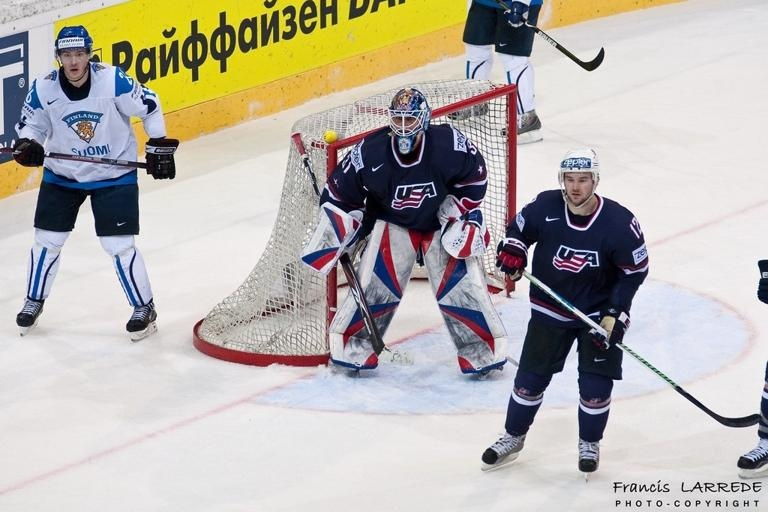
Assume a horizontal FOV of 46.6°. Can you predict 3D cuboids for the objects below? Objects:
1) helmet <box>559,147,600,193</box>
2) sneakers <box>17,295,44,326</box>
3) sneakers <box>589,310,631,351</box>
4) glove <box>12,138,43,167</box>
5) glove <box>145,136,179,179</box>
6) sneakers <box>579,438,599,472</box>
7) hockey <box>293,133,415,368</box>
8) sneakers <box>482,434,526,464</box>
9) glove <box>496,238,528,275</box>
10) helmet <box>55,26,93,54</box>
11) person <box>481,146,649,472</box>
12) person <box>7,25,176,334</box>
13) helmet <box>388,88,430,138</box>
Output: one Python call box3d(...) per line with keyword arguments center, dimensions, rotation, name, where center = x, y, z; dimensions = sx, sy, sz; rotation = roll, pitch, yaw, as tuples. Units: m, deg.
box3d(center=(0.884, -0.408, 4.024), dimensions=(0.163, 0.178, 0.200), rotation=(-1, 5, 16), name="helmet")
box3d(center=(-2.129, 0.337, 5.424), dimensions=(0.086, 0.102, 0.250), rotation=(25, 16, -17), name="sneakers")
box3d(center=(0.986, 0.315, 3.893), dimensions=(0.144, 0.191, 0.073), rotation=(34, -9, 32), name="sneakers")
box3d(center=(-2.060, -0.601, 5.173), dimensions=(0.168, 0.172, 0.130), rotation=(-15, 22, -22), name="glove")
box3d(center=(-1.345, -0.603, 5.395), dimensions=(0.185, 0.227, 0.140), rotation=(-11, 34, -35), name="glove")
box3d(center=(0.926, 0.880, 4.006), dimensions=(0.089, 0.081, 0.245), rotation=(-1, 16, 14), name="sneakers")
box3d(center=(-0.170, -0.034, 4.812), dimensions=(0.147, 1.366, 0.206), rotation=(-29, -7, 38), name="hockey")
box3d(center=(0.557, 0.893, 4.092), dimensions=(0.200, 0.091, 0.060), rotation=(-17, 53, -41), name="sneakers")
box3d(center=(0.607, -0.014, 4.201), dimensions=(0.167, 0.158, 0.070), rotation=(25, 22, 4), name="glove")
box3d(center=(-1.768, -1.233, 5.107), dimensions=(0.152, 0.162, 0.197), rotation=(-6, -8, -10), name="helmet")
box3d(center=(0.824, 0.255, 4.010), dimensions=(0.692, 1.366, 0.648), rotation=(-1, 21, 15), name="person")
box3d(center=(-1.748, -0.416, 5.278), dimensions=(1.101, 1.803, 0.557), rotation=(-11, 21, -11), name="person")
box3d(center=(0.131, -0.724, 4.506), dimensions=(0.231, 0.228, 0.269), rotation=(1, 19, 3), name="helmet")
